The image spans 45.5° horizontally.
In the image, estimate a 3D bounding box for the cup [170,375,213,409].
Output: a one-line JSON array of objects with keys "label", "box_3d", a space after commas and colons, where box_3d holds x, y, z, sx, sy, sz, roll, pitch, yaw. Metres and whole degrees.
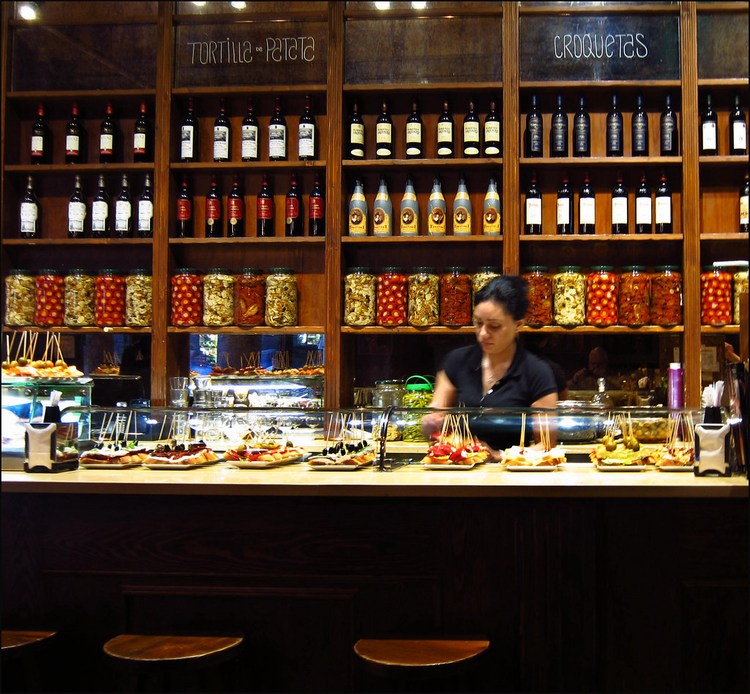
[{"label": "cup", "box_3d": [-0.831, 0.206, 4.033, 0.167, 0.192, 0.267, 0, -6, -2]}]

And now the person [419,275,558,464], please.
[{"label": "person", "box_3d": [0.469, 0.052, 3.515, 0.522, 0.713, 0.707, -1, -3, 7]}]

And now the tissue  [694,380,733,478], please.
[{"label": "tissue ", "box_3d": [1.149, 0.273, 3.056, 0.123, 0.310, 0.205, -2, -3, 20]}]

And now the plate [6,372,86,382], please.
[{"label": "plate", "box_3d": [-1.228, 0.112, 3.338, 0.295, 0.034, 0.242, 0, -3, -25]}]

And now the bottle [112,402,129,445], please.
[{"label": "bottle", "box_3d": [-0.935, 0.288, 3.313, 0.054, 0.131, 0.067, 0, -3, -20]}]
